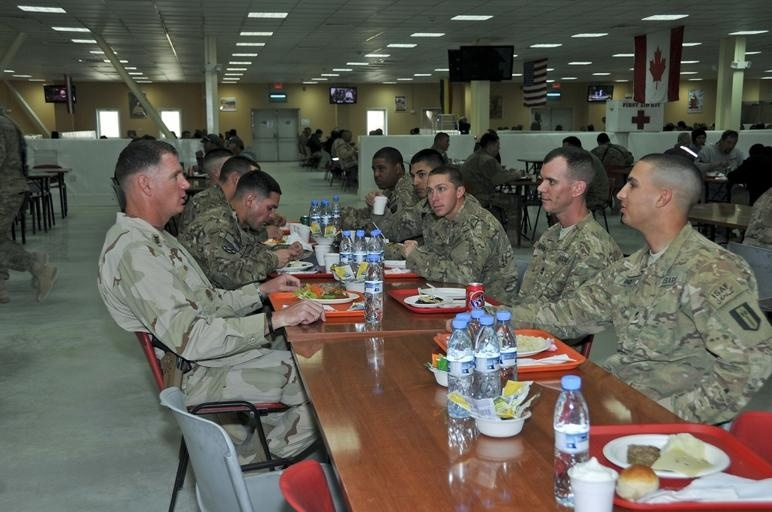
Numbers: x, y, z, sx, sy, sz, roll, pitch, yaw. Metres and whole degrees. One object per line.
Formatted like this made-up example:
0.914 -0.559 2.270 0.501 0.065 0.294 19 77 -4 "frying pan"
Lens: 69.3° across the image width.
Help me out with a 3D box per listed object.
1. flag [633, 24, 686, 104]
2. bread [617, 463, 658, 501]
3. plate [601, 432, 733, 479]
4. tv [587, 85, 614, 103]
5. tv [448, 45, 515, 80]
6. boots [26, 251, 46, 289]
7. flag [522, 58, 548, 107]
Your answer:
5.828 -4.081 12.039 0.882 1.497 0.775 5 12 37 "flag"
0.613 0.554 1.383 0.086 0.063 0.080 -11 -11 1 "bread"
0.755 0.524 1.515 0.330 0.078 0.185 -1 9 8 "plate"
9.581 -7.241 24.988 1.107 0.736 0.518 0 10 19 "tv"
2.167 -4.372 12.787 1.403 0.775 0.628 -2 10 6 "tv"
-3.479 0.156 5.610 0.194 0.437 0.146 3 19 -21 "boots"
3.941 -4.566 14.792 0.553 1.256 1.286 -1 10 12 "flag"
